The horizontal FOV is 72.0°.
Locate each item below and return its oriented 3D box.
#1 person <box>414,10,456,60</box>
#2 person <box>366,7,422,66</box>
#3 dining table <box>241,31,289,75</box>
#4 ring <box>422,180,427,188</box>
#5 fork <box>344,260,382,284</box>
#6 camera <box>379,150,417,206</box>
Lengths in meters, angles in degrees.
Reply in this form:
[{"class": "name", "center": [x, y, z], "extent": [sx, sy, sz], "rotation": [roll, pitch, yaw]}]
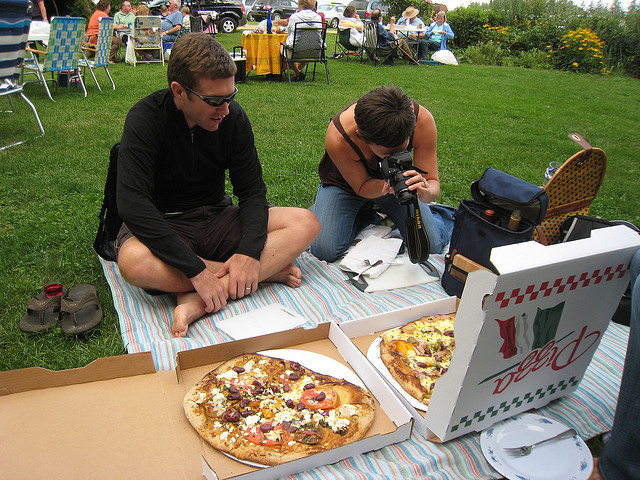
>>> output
[{"class": "person", "center": [3.219, -5.695, 12.502], "extent": [0.941, 1.339, 0.805], "rotation": [-13, 32, -28]}, {"class": "person", "center": [1.863, -5.046, 10.964], "extent": [1.194, 1.188, 1.906], "rotation": [4, 26, 7]}, {"class": "dining table", "center": [-1.014, -3.502, 8.461], "extent": [0.755, 0.871, 0.675], "rotation": [15, 26, 32]}, {"class": "ring", "center": [0.600, -0.318, 2.516], "extent": [0.013, 0.035, 0.027], "rotation": [4, 0, -8]}, {"class": "fork", "center": [0.289, 0.199, 2.846], "extent": [0.269, 0.086, 0.073], "rotation": [-17, 31, -32]}, {"class": "camera", "center": [0.457, -0.349, 2.521], "extent": [0.173, 0.274, 0.256], "rotation": [-3, 27, -9]}]
